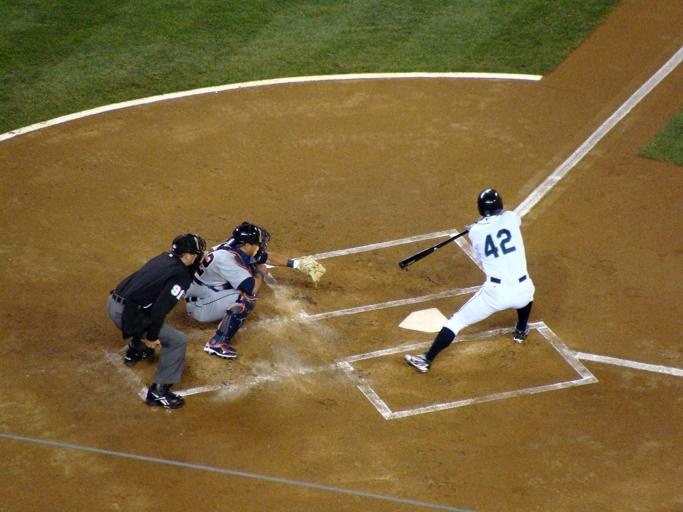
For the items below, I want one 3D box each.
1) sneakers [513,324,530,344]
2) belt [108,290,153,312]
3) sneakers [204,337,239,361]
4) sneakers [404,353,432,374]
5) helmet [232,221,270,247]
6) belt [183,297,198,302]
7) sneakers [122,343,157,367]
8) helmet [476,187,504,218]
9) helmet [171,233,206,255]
[{"bbox_3d":[2.257,0.968,14.562,0.149,0.123,0.268,14,59,22],"label":"sneakers"},{"bbox_3d":[-2.496,0.511,13.705,0.324,0.274,0.075,22,84,11],"label":"belt"},{"bbox_3d":[-1.456,1.152,14.429,0.424,0.189,0.218,19,26,-1],"label":"sneakers"},{"bbox_3d":[0.961,1.321,14.291,0.310,0.168,0.065,24,81,6],"label":"sneakers"},{"bbox_3d":[-1.125,-0.245,14.511,0.439,0.377,0.279,-8,68,-1],"label":"helmet"},{"bbox_3d":[-1.860,0.542,14.670,0.111,0.077,0.042,2,93,22],"label":"belt"},{"bbox_3d":[-2.442,1.216,14.245,0.283,0.247,0.127,-17,64,-18],"label":"sneakers"},{"bbox_3d":[1.884,-0.651,14.388,0.333,0.357,0.365,7,64,12],"label":"helmet"},{"bbox_3d":[-1.786,-0.142,13.873,0.365,0.234,0.160,-5,105,-37],"label":"helmet"}]
